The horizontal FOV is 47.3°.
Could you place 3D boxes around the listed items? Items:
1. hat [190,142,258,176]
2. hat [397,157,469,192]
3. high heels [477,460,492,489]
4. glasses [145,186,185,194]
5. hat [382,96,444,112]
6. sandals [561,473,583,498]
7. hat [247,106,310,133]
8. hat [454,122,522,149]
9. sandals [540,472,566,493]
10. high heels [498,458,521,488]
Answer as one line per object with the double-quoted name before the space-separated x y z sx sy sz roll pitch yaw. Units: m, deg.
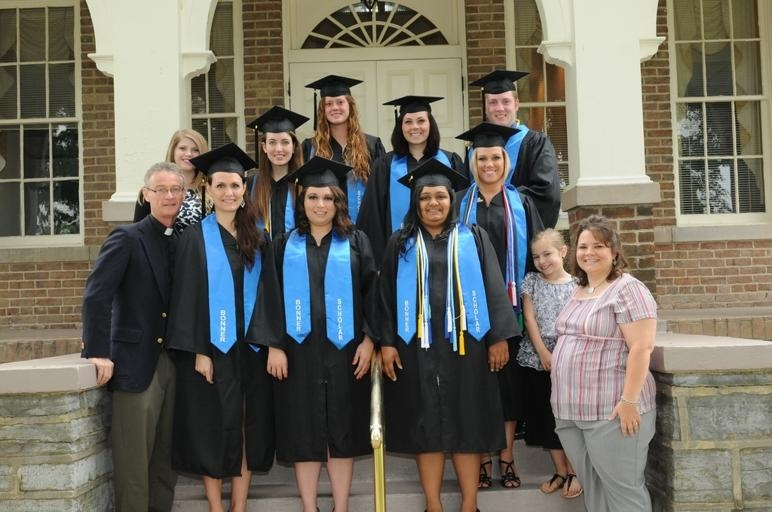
"hat" -1.431 -0.831 7.726 0.495 0.287 0.356 -3 0 26
"hat" 0.463 -0.705 7.623 0.518 0.266 0.310 -3 0 -32
"high heels" 0.849 1.875 7.611 0.107 0.232 0.159 -3 0 8
"glasses" -1.915 -0.562 7.468 0.367 0.080 0.141 -3 0 5
"hat" 0.194 -1.442 8.383 0.440 0.094 0.409 -1 -2 -22
"sandals" 1.564 1.952 7.471 0.119 0.099 0.262 -1 -2 9
"hat" -1.026 -1.269 8.262 0.525 0.248 0.296 -3 0 -8
"hat" 0.848 -1.087 7.968 0.328 0.102 0.331 -8 -12 32
"sandals" 1.421 1.927 7.520 0.254 0.092 0.109 -3 2 -43
"high heels" 1.055 1.861 7.594 0.182 0.238 0.158 -3 0 10
